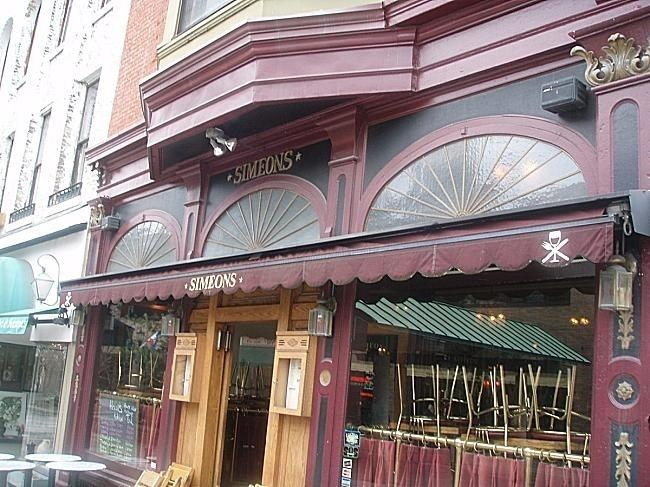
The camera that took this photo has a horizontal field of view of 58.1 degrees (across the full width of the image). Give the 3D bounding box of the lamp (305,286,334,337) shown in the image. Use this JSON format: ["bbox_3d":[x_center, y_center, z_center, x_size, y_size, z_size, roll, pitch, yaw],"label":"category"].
[{"bbox_3d":[-0.039,0.931,7.947,0.370,0.655,0.208,-7,-18,35],"label":"lamp"}]

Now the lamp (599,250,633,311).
[{"bbox_3d":[2.782,0.380,5.603,0.323,0.518,0.331,-5,-17,30],"label":"lamp"}]

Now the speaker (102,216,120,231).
[{"bbox_3d":[-4.513,-0.401,12.351,0.296,0.290,0.363,16,-20,-38],"label":"speaker"}]

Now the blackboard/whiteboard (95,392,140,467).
[{"bbox_3d":[-3.964,3.511,11.170,1.591,1.167,0.159,-12,-21,43],"label":"blackboard/whiteboard"}]

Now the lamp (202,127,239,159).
[{"bbox_3d":[-1.675,-1.549,9.454,0.491,0.479,0.674,6,-16,-10],"label":"lamp"}]
